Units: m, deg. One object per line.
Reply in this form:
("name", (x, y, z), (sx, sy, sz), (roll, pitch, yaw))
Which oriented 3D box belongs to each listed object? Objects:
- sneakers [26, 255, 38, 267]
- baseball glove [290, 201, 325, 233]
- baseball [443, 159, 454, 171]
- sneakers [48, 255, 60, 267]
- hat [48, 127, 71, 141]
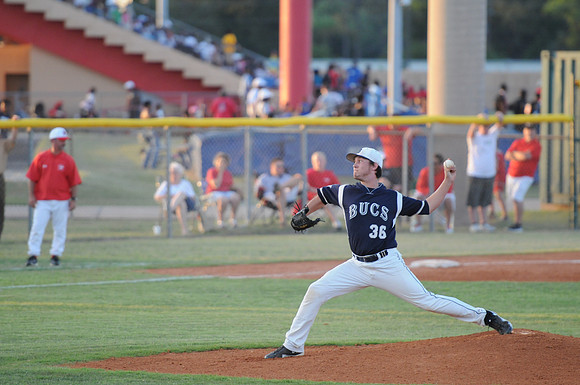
("sneakers", (-6.085, 1.573, 33.112), (0.189, 0.285, 0.285), (1, 2, -19))
("baseball glove", (0.313, 0.536, 30.137), (0.639, 0.451, 0.314), (1, 19, 16))
("baseball", (3.265, -0.588, 29.720), (0.223, 0.264, 0.119), (-17, 8, -9))
("sneakers", (-5.544, 1.586, 33.188), (0.281, 0.369, 0.202), (0, 5, -16))
("hat", (-5.392, -1.368, 32.886), (0.421, 0.225, 0.308), (-4, 2, 18))
